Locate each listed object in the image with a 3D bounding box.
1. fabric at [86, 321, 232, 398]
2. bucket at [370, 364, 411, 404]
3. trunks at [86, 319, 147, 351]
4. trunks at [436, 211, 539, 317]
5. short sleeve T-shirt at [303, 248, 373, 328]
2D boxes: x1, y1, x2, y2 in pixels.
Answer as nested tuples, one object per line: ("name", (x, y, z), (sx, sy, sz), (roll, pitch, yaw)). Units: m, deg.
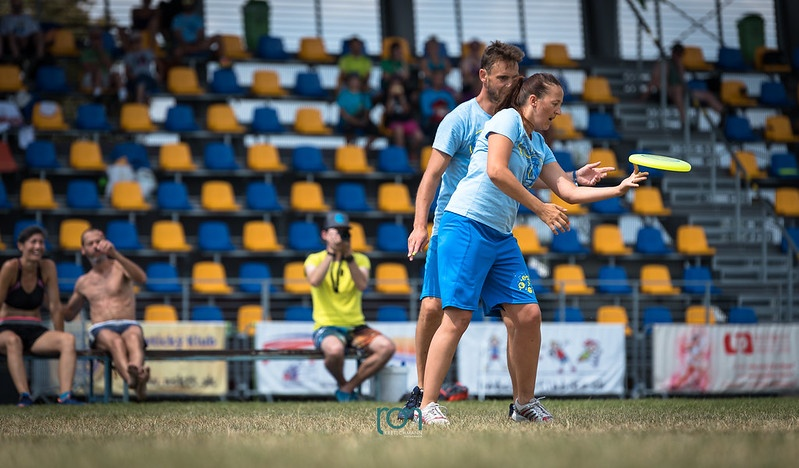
("fabric", (-3.333, 1.984, 29.029), (2.138, 1.145, 0.684), (-2, -7, 30))
("bucket", (-0.094, 2.282, 28.152), (0.541, 0.533, 0.526), (0, 0, 0))
("trunks", (-4.197, 1.576, 27.479), (0.699, 0.295, 0.464), (0, -20, -12))
("trunks", (1.179, 0.416, 25.806), (1.542, 1.376, 0.835), (12, -19, -37))
("short sleeve T-shirt", (-0.936, 0.842, 28.495), (1.210, 1.289, 0.707), (2, -12, -13))
